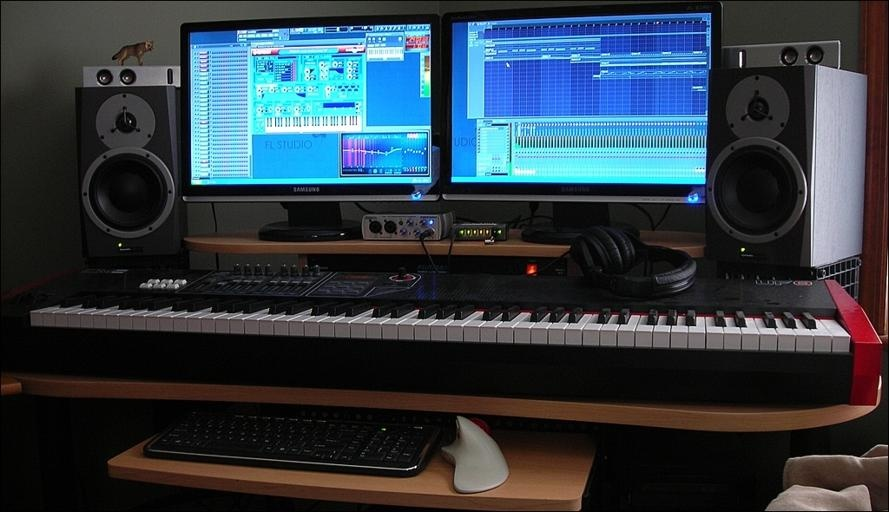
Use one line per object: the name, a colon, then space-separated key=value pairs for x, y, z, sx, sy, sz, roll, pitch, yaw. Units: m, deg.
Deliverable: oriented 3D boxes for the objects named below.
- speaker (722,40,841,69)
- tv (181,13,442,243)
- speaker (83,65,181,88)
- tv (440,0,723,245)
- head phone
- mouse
speaker: x=1.179 y=-0.705 z=2.477 sx=0.386 sy=0.096 sz=0.180 roll=3 pitch=12 yaw=19
tv: x=-0.519 y=-0.528 z=2.784 sx=1.053 sy=0.727 sz=0.402 roll=1 pitch=8 yaw=5
speaker: x=-1.258 y=-0.717 z=2.812 sx=0.363 sy=0.082 sz=0.085 roll=-1 pitch=12 yaw=1
tv: x=0.518 y=-0.528 z=2.683 sx=1.164 sy=0.774 sz=0.364 roll=0 pitch=2 yaw=8
head phone: x=0.598 y=0.023 z=2.279 sx=0.283 sy=0.111 sz=0.317 roll=-14 pitch=23 yaw=-38
mouse: x=0.083 y=0.553 z=2.061 sx=0.196 sy=0.090 sz=0.270 roll=-18 pitch=26 yaw=-8
